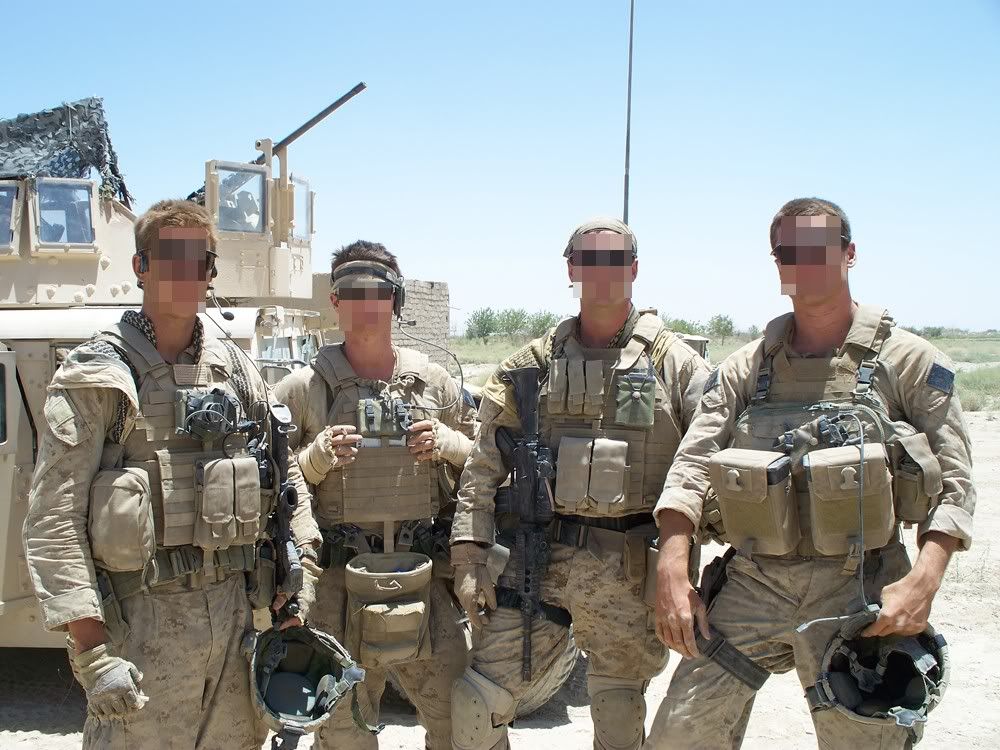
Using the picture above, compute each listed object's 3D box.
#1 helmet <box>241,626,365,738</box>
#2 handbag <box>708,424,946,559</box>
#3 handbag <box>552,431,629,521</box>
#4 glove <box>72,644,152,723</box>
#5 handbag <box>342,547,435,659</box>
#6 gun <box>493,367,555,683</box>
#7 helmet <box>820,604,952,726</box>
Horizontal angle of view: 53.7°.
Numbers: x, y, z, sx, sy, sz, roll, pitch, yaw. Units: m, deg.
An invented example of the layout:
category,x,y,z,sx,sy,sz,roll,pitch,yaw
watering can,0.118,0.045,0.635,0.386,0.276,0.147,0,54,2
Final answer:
category,x,y,z,sx,sy,sz,roll,pitch,yaw
helmet,-0.842,1.228,4.180,0.379,0.347,0.484,20,11,-15
handbag,1.259,0.485,3.910,0.598,0.312,0.612,-2,-7,8
handbag,0.421,0.464,4.558,0.330,0.377,0.094,3,-6,11
glove,-1.485,1.170,3.728,0.288,0.304,0.174,6,8,28
handbag,-0.528,1.061,4.844,0.513,0.649,0.438,0,-5,-9
gun,0.022,0.666,4.746,0.196,1.623,0.579,0,-1,-7
helmet,1.500,1.168,3.920,0.409,0.543,0.510,3,-1,29
